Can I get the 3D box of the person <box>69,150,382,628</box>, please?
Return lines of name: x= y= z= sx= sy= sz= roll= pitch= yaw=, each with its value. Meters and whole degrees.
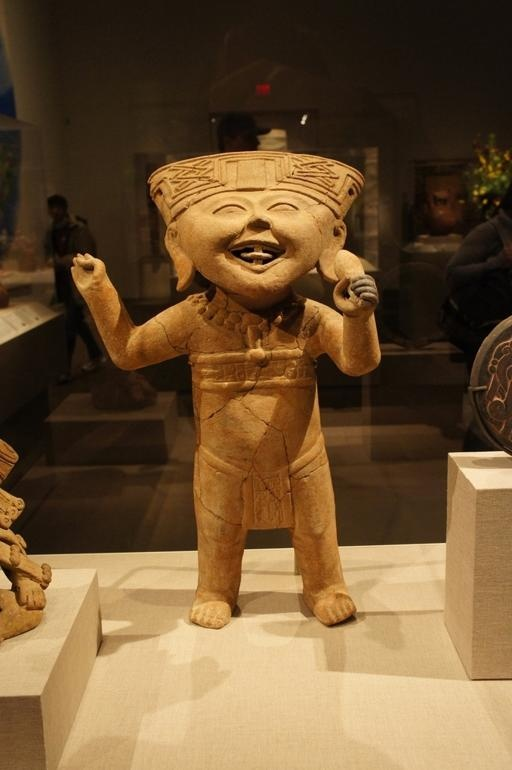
person: x=-0.054 y=0.067 z=2.226 sx=0.886 sy=1.607 sz=0.470 roll=1 pitch=14 yaw=11
